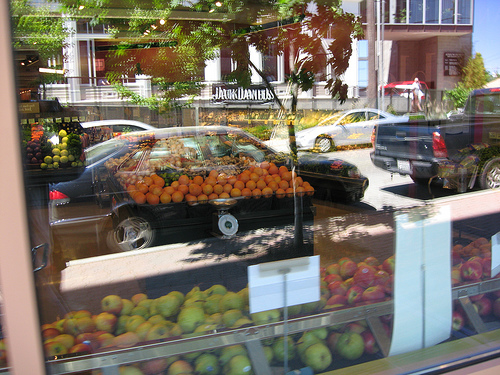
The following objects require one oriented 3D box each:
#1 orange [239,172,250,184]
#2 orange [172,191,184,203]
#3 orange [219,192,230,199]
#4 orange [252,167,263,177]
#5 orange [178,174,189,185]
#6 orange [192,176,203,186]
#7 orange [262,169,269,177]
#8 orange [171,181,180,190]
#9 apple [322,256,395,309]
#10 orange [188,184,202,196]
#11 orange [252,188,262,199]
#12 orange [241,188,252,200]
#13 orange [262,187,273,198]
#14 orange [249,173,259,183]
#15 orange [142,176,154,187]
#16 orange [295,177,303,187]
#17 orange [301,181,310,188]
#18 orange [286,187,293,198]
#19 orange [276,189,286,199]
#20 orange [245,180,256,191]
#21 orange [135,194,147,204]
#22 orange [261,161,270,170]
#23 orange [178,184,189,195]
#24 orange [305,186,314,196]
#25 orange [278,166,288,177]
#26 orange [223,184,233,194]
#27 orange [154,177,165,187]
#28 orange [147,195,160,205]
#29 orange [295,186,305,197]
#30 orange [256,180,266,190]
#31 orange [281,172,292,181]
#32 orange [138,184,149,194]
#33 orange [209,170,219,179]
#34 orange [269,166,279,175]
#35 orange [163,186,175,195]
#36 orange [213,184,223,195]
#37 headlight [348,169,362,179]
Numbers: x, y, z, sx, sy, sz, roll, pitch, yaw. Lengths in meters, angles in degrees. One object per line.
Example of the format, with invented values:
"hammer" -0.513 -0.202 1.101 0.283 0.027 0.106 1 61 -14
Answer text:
"orange" -0.067 -0.105 3.618 0.093 0.054 0.098 -17 53 -19
"orange" -0.761 0.102 3.432 0.115 0.107 0.115 -8 -1 -25
"orange" -0.271 0.079 3.524 0.069 0.073 0.061 -4 53 -16
"orange" 0.087 -0.185 3.686 0.101 0.089 0.111 -18 25 -4
"orange" -0.698 -0.084 3.487 0.099 0.087 0.088 -3 33 2
"orange" -0.557 -0.074 3.544 0.091 0.080 0.098 -16 -11 -9
"orange" 0.165 -0.168 3.677 0.069 0.070 0.064 -1 1 -1
"orange" -0.787 -0.025 3.448 0.082 0.084 0.075 13 37 0
"apple" 0.554 0.482 1.690 0.318 0.085 0.205 -5 36 9
"orange" -0.583 0.022 3.458 0.134 0.093 0.098 5 -13 21
"orange" 0.079 0.064 3.633 0.109 0.110 0.099 3 -30 3
"orange" -0.045 0.059 3.593 0.113 0.114 0.103 -5 31 -4
"orange" 0.196 0.045 3.651 0.108 0.110 0.102 15 18 5
"orange" 0.038 -0.108 3.664 0.092 0.099 0.085 2 50 26
"orange" -1.072 -0.064 3.457 0.096 0.102 0.093 3 26 31
"orange" 0.539 -0.073 3.637 0.089 0.092 0.084 -4 -3 9
"orange" 0.606 -0.038 3.643 0.067 0.062 0.075 -25 -23 -6
"orange" 0.421 0.049 3.666 0.084 0.084 0.078 1 5 2
"orange" 0.328 0.060 3.619 0.099 0.100 0.090 -1 30 -3
"orange" 0.003 -0.024 3.535 0.107 0.094 0.057 -11 -19 -2
"orange" -1.121 0.116 3.382 0.107 0.090 0.095 -5 1 -27
"orange" 0.164 -0.247 3.730 0.083 0.072 0.074 0 43 1
"orange" -0.692 0.027 3.477 0.106 0.094 0.123 -10 -18 24
"orange" 0.637 0.035 3.576 0.093 0.080 0.083 3 -16 0
"orange" 0.354 -0.178 3.708 0.107 0.107 0.099 -4 15 -5
"orange" -0.245 0.009 3.546 0.092 0.092 0.084 -3 29 -6
"orange" -0.950 -0.061 3.454 0.113 0.085 0.088 -14 54 -17
"orange" -0.997 0.123 3.391 0.101 0.092 0.098 12 10 -8
"orange" 0.532 0.044 3.565 0.108 0.110 0.099 -1 12 2
"orange" 0.115 -0.028 3.608 0.099 0.092 0.107 19 59 17
"orange" 0.397 -0.124 3.655 0.092 0.093 0.086 9 -18 16
"orange" -1.113 0.021 3.416 0.099 0.086 0.093 2 3 -23
"orange" -0.385 -0.145 3.634 0.086 0.074 0.093 -22 -20 -3
"orange" 0.254 -0.191 3.707 0.086 0.090 0.083 24 -5 -32
"orange" -0.850 0.027 3.423 0.100 0.071 0.077 -1 7 -9
"orange" -0.350 0.018 3.584 0.110 0.109 0.102 7 -4 -16
"headlight" 1.185 -0.152 3.757 0.202 0.106 0.101 -2 45 17
